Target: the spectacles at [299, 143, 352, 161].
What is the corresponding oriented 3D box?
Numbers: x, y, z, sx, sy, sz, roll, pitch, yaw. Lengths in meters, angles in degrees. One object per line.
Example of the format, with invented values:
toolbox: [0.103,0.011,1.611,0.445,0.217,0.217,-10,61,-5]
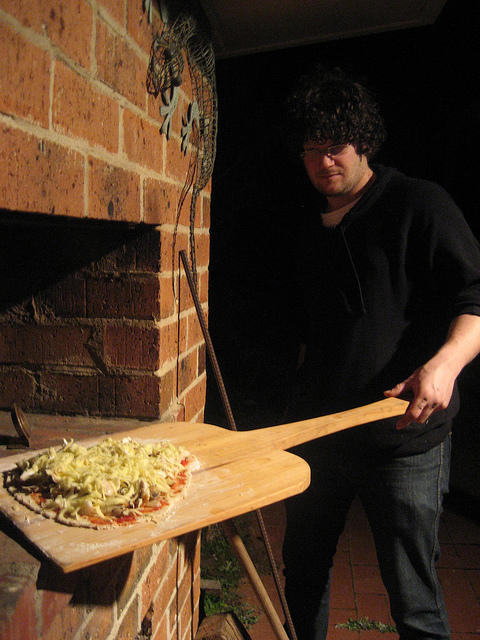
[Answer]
spectacles: [0.240,-0.480,1.561,0.046,0.048,0.181,-5,15,-37]
